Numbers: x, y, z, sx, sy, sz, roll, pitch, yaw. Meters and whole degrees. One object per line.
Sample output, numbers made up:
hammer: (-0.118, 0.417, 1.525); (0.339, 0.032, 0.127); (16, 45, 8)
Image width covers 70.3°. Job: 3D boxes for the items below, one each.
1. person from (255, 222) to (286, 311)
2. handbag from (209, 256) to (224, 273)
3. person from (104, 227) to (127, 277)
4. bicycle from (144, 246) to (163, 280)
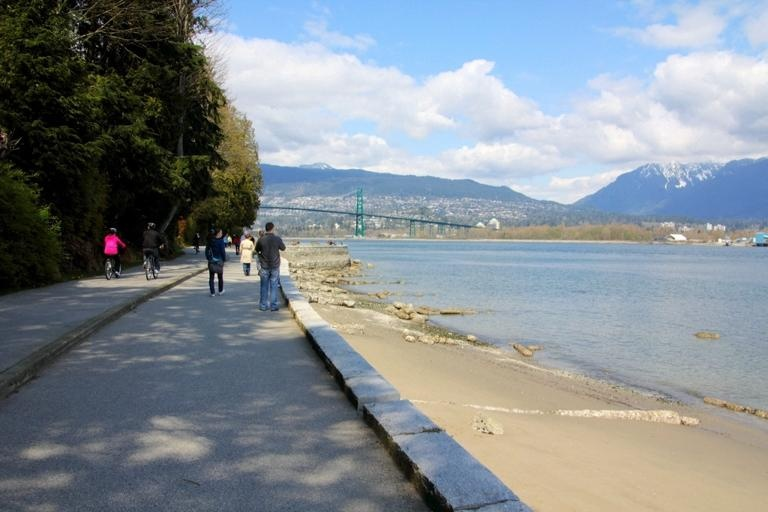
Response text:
person: (-3.197, 0.317, 15.139); (0.727, 1.991, 1.025); (9, 3, 6)
handbag: (-5.494, 0.293, 17.941); (0.431, 0.386, 0.359); (8, 3, -26)
person: (-11.111, -0.140, 22.483); (0.694, 1.428, 1.503); (8, 3, -27)
bicycle: (-9.508, 0.295, 22.450); (0.525, 0.878, 1.142); (9, 3, -5)
